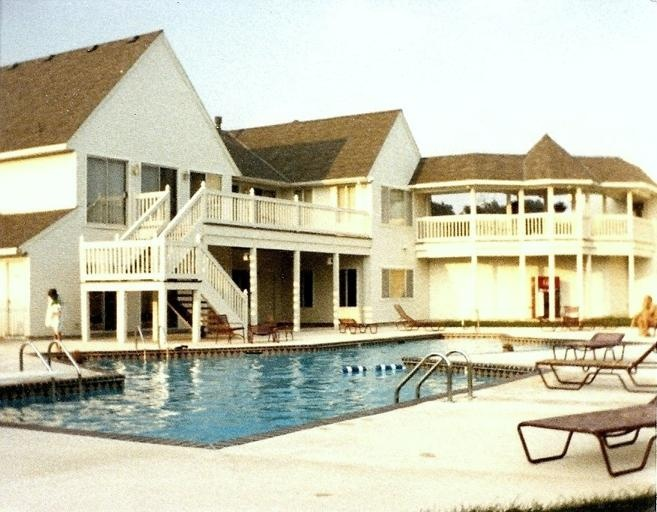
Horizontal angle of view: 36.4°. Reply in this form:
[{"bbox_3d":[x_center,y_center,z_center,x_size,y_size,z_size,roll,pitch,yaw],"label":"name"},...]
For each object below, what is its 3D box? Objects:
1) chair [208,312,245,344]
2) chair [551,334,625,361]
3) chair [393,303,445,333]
[{"bbox_3d":[-3.008,2.081,28.694,1.053,1.013,0.808,-3,-4,36],"label":"chair"},{"bbox_3d":[5.935,2.137,22.803,1.806,0.595,0.907,0,-4,25],"label":"chair"},{"bbox_3d":[3.211,2.331,37.037,2.114,1.049,0.791,1,1,13],"label":"chair"}]
